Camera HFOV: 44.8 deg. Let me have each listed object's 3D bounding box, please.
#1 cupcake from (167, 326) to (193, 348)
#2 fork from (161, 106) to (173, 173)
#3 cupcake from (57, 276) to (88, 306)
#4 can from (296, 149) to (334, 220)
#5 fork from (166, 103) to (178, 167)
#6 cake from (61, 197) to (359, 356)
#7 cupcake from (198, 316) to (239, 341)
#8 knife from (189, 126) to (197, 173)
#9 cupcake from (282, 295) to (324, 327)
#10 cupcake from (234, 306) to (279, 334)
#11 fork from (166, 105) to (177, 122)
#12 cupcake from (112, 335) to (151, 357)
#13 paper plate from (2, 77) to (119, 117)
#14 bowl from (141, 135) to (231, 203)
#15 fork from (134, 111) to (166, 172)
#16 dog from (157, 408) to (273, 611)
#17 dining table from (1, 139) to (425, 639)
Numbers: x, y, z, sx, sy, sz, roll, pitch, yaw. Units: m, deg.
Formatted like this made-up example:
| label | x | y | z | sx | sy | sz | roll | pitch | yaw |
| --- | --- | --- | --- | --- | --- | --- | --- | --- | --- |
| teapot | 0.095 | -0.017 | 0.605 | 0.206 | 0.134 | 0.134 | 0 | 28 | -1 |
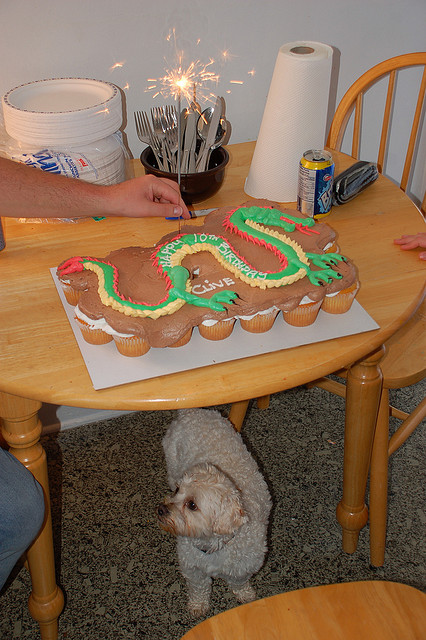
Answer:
| label | x | y | z | sx | sy | sz | roll | pitch | yaw |
| --- | --- | --- | --- | --- | --- | --- | --- | --- | --- |
| cupcake | -0.046 | 0.024 | 0.694 | 0.025 | 0.027 | 0.028 | 0 | 47 | 0 |
| fork | -0.102 | -0.380 | 1.082 | 0.019 | 0.017 | 0.156 | -8 | 70 | -4 |
| cupcake | -0.206 | -0.040 | 0.768 | 0.039 | 0.040 | 0.040 | 0 | 43 | -6 |
| can | 0.200 | -0.262 | 1.000 | 0.068 | 0.115 | 0.071 | -3 | 39 | 3 |
| fork | -0.087 | -0.393 | 1.090 | 0.020 | 0.020 | 0.168 | 1 | 83 | -8 |
| cake | -0.001 | -0.062 | 0.748 | 0.355 | 0.086 | 0.243 | -14 | 47 | -13 |
| cupcake | 0.005 | 0.012 | 0.693 | 0.039 | 0.025 | 0.038 | -9 | 38 | -12 |
| knife | -0.038 | -0.355 | 1.074 | 0.011 | 0.011 | 0.100 | 4 | 84 | 12 |
| cupcake | 0.127 | -0.009 | 0.721 | 0.045 | 0.040 | 0.047 | -6 | 36 | 2 |
| cupcake | 0.065 | 0.001 | 0.710 | 0.044 | 0.029 | 0.042 | 3 | 47 | 5 |
| fork | -0.092 | -0.465 | 1.138 | 0.014 | 0.018 | 0.064 | -1 | 71 | 5 |
| cupcake | -0.106 | 0.034 | 0.671 | 0.035 | 0.022 | 0.034 | 1 | 36 | 0 |
| paper plate | -0.312 | -0.455 | 1.057 | 0.245 | 0.061 | 0.192 | -5 | 36 | -1 |
| bowl | -0.069 | -0.302 | 1.063 | 0.183 | 0.084 | 0.181 | 2 | 44 | -2 |
| fork | -0.125 | -0.372 | 1.093 | 0.067 | 0.127 | 0.047 | 27 | 40 | 29 |
| dog | 0.004 | 0.369 | 1.044 | 0.192 | 0.380 | 0.351 | -2 | 29 | 2 |
| dining table | 0.032 | 0.082 | 1.279 | 1.078 | 0.745 | 0.941 | -10 | 53 | -7 |
